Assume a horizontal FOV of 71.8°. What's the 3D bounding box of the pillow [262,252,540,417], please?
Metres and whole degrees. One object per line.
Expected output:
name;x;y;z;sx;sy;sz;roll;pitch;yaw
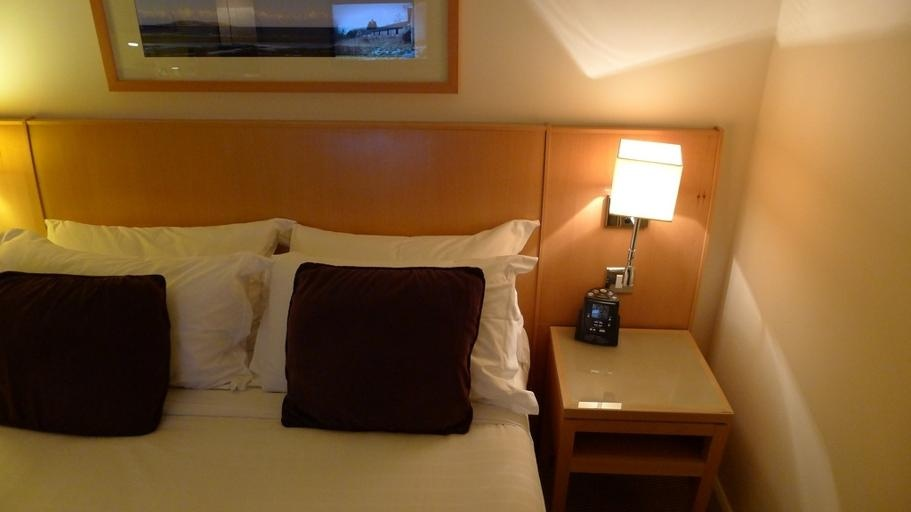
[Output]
pillow;0.041;0.490;3.442;0.995;0.968;0.281;0;-16;-2

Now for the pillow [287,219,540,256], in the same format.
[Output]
pillow;-0.218;-0.101;3.317;1.319;0.206;0.198;2;18;0

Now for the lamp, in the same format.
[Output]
lamp;0.957;-0.180;3.346;0.340;0.827;0.274;8;27;7
